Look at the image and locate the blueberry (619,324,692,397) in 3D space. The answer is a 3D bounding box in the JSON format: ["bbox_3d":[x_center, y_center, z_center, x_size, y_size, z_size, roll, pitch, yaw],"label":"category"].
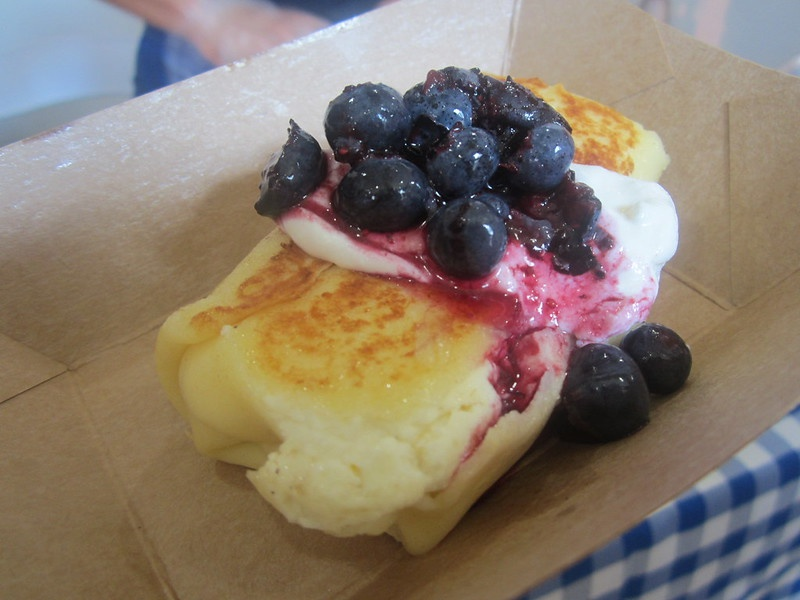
[{"bbox_3d":[0.638,0.145,2.172,0.158,0.134,0.180,-9,43,-15],"label":"blueberry"}]

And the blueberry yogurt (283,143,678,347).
[{"bbox_3d":[0.217,-0.339,2.360,1.197,0.430,0.563,-5,33,-3],"label":"blueberry yogurt"}]

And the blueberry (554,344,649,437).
[{"bbox_3d":[0.488,0.232,2.048,0.210,0.155,0.220,15,54,8],"label":"blueberry"}]

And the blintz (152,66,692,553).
[{"bbox_3d":[0.081,0.006,2.073,1.197,0.689,0.974,-34,61,-24],"label":"blintz"}]
